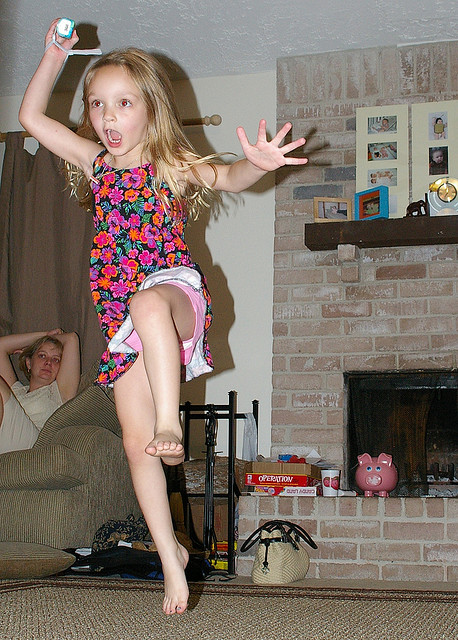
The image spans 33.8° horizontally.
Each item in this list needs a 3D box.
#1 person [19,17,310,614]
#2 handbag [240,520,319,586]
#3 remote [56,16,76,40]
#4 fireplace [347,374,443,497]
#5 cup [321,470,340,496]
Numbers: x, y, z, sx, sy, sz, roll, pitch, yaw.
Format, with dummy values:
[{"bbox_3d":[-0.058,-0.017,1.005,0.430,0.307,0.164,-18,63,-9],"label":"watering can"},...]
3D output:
[{"bbox_3d":[-0.207,0.036,1.723,0.532,1.389,1.075,1,-3,-15],"label":"person"},{"bbox_3d":[0.175,0.798,2.624,0.275,0.187,0.306,-8,-11,23],"label":"handbag"},{"bbox_3d":[-0.356,-0.633,1.660,0.050,0.042,0.014,11,-12,-3],"label":"remote"},{"bbox_3d":[0.725,0.486,3.303,0.474,0.456,0.281,0,1,10],"label":"fireplace"},{"bbox_3d":[0.385,0.625,2.896,0.065,0.094,0.087,0,-3,6],"label":"cup"}]
